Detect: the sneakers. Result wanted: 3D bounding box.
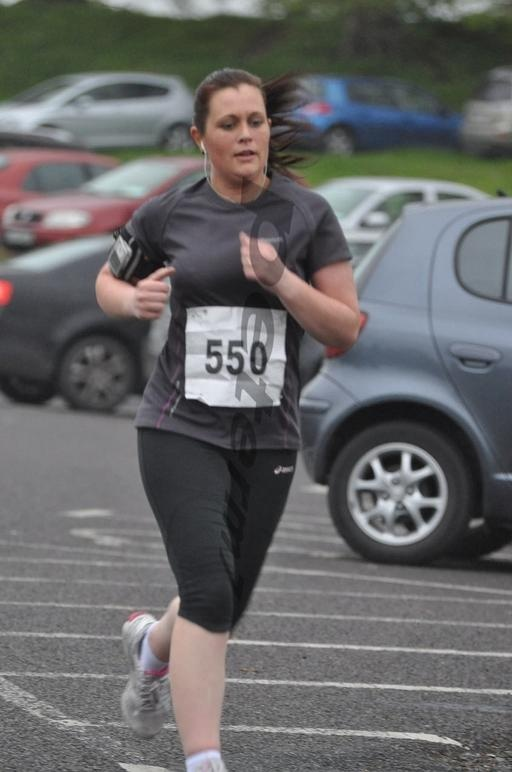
[{"bbox_3d":[-0.231,0.641,1.761,0.109,0.272,0.130,1,9,3],"label":"sneakers"}]

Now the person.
[{"bbox_3d":[-0.063,0.036,1.542,0.427,1.404,0.583,6,-7,-21],"label":"person"}]
